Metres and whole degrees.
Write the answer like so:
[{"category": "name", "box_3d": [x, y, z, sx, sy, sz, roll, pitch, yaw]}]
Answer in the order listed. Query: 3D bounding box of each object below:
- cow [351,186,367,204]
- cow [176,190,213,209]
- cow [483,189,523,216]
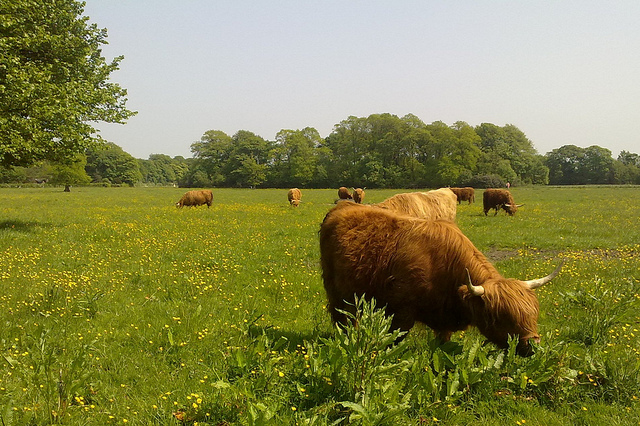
[{"category": "cow", "box_3d": [2.756, -1.155, 37.719, 1.043, 1.441, 2.670, 3, 12, 5]}, {"category": "cow", "box_3d": [-9.292, -1.088, 38.814, 1.659, 1.256, 3.801, 2, 2, 14]}, {"category": "cow", "box_3d": [10.854, -0.528, 31.117, 1.495, 1.697, 2.978, 0, 7, -16]}]
